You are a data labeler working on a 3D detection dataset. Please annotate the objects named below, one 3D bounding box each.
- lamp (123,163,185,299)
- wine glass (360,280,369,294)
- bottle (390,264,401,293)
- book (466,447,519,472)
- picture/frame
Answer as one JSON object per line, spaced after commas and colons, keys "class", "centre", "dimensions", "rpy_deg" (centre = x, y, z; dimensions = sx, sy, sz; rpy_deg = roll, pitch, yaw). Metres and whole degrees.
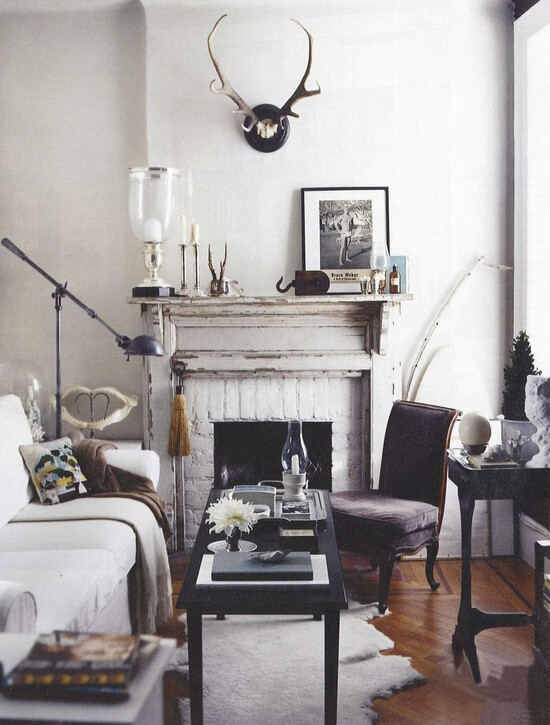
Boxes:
{"class": "lamp", "centre": [-0.547, -0.608, 3.607], "dimensions": [0.259, 0.600, 0.352], "rpy_deg": [0, 5, -7]}
{"class": "wine glass", "centre": [0.418, -0.349, 3.559], "dimensions": [0.037, 0.064, 0.066], "rpy_deg": [1, 5, 6]}
{"class": "bottle", "centre": [0.550, -0.374, 3.531], "dimensions": [0.053, 0.130, 0.192], "rpy_deg": [1, 5, 8]}
{"class": "book", "centre": [0.729, 0.317, 2.588], "dimensions": [0.166, 0.052, 0.164], "rpy_deg": [2, 6, 15]}
{"class": "picture/frame", "centre": [0.348, -0.582, 3.701], "dimensions": [0.407, 0.615, 0.022], "rpy_deg": [-1, -21, 3]}
